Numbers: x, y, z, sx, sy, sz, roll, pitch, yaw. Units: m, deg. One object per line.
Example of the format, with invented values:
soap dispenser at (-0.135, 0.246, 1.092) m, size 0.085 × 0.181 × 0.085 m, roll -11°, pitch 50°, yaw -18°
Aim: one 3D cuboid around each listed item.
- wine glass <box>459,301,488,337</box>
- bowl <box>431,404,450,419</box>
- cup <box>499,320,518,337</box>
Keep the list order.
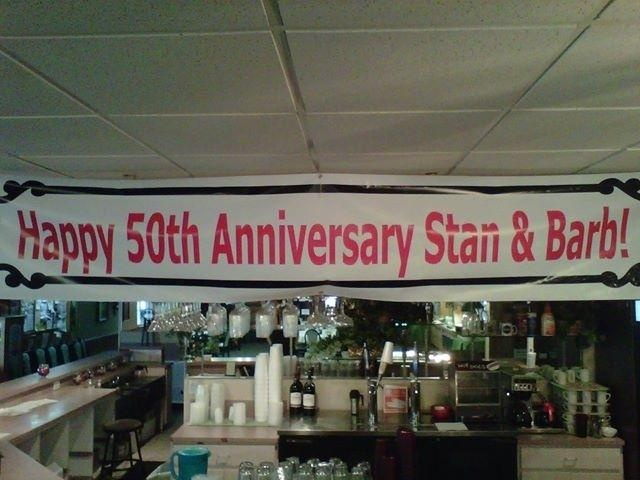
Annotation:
wine glass at (1.505, 0.757, 5.830) m, size 0.323 × 0.548 × 0.312 m, roll -1°, pitch -9°, yaw 12°
bowl at (1.113, 1.592, 5.530) m, size 0.123 × 0.080 × 0.119 m, roll 1°, pitch -4°, yaw 0°
cup at (1.813, 0.857, 5.757) m, size 0.157 × 0.128 × 0.108 m, roll 9°, pitch -16°, yaw -38°
